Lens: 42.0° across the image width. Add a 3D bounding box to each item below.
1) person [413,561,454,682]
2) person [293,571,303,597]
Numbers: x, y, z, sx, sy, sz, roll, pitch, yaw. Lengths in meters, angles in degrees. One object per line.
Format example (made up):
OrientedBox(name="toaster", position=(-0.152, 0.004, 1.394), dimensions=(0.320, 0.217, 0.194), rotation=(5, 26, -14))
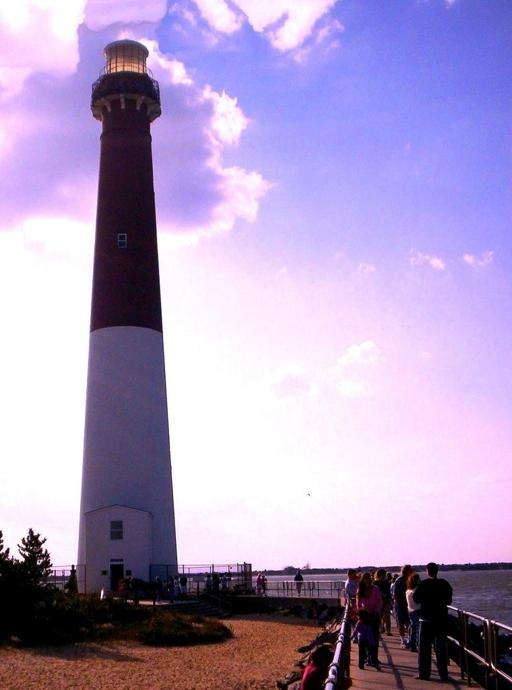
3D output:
OrientedBox(name="person", position=(2.374, 3.677, 8.869), dimensions=(0.506, 1.585, 1.688), rotation=(-3, -13, 13))
OrientedBox(name="person", position=(2.604, 14.571, 40.770), dimensions=(0.537, 1.280, 1.798), rotation=(-1, -13, 3))
